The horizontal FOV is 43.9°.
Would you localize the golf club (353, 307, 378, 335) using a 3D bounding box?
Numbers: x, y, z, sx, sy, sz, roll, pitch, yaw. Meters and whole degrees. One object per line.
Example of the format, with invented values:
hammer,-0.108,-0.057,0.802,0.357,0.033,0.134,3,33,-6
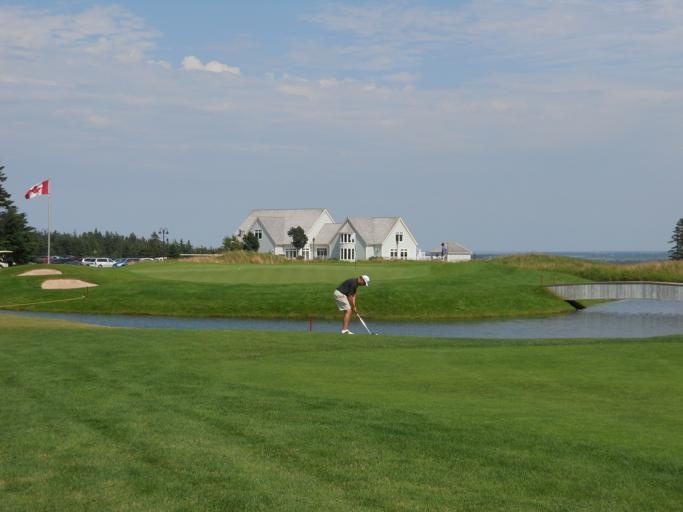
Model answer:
golf club,0.875,2.468,31.419,0.192,0.331,1.235,-26,21,-5
